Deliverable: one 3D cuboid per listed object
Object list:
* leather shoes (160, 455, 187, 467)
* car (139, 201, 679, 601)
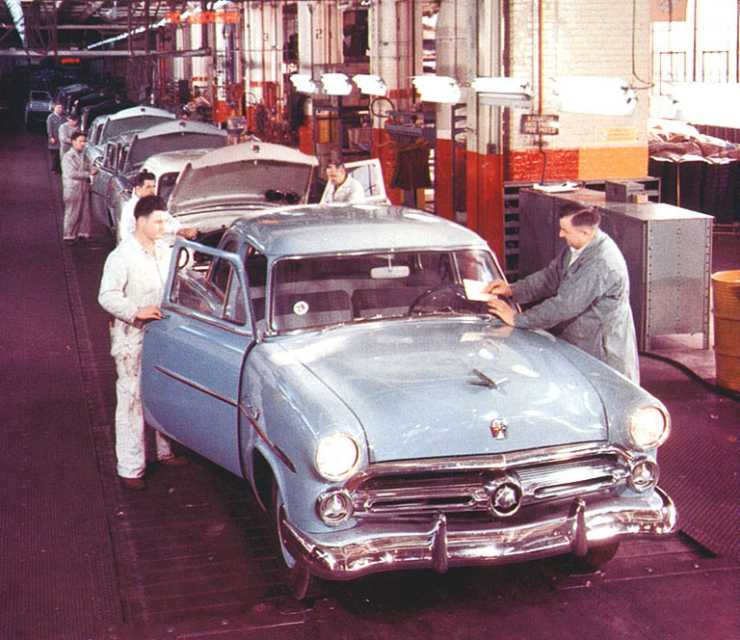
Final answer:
[{"bbox_3d":[-1.593,1.150,5.898,0.220,0.095,0.082,-1,21,4],"label":"leather shoes"},{"bbox_3d":[0.100,0.243,4.260,1.950,1.608,2.916,-11,16,-35],"label":"car"}]
